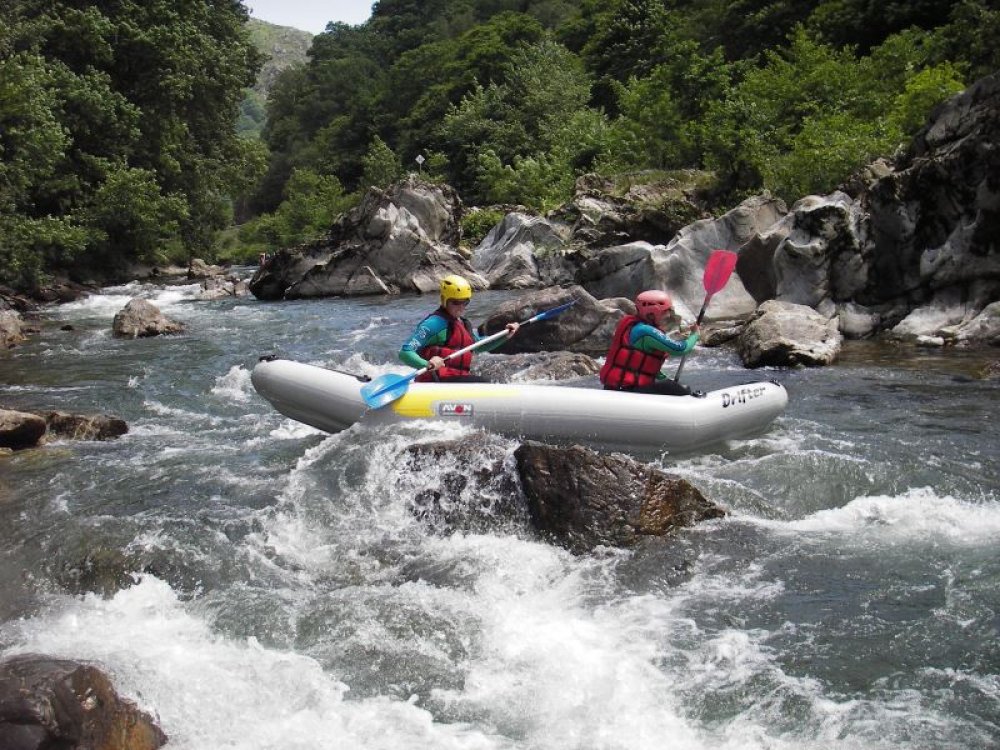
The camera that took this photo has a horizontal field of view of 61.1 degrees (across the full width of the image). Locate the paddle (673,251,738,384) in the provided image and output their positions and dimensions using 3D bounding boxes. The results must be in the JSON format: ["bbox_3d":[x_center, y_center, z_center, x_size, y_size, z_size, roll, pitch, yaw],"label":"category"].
[{"bbox_3d":[2.581,-0.757,10.967,0.370,1.893,0.119,3,44,-11],"label":"paddle"}]

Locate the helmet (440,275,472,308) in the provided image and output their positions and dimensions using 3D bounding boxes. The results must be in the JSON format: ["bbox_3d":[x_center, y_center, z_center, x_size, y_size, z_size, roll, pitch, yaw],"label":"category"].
[{"bbox_3d":[-0.502,-0.923,9.206,0.404,0.272,0.283,14,16,13],"label":"helmet"}]

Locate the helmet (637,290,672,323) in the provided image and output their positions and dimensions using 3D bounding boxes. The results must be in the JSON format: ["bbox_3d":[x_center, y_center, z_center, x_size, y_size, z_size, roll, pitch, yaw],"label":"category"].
[{"bbox_3d":[1.604,-0.759,9.160,0.416,0.282,0.286,-15,34,11],"label":"helmet"}]

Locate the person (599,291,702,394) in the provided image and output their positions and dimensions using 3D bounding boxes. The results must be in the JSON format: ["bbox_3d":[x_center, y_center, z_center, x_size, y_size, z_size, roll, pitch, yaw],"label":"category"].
[{"bbox_3d":[1.660,-0.311,9.292,1.152,1.144,1.032,-2,17,-6],"label":"person"}]
